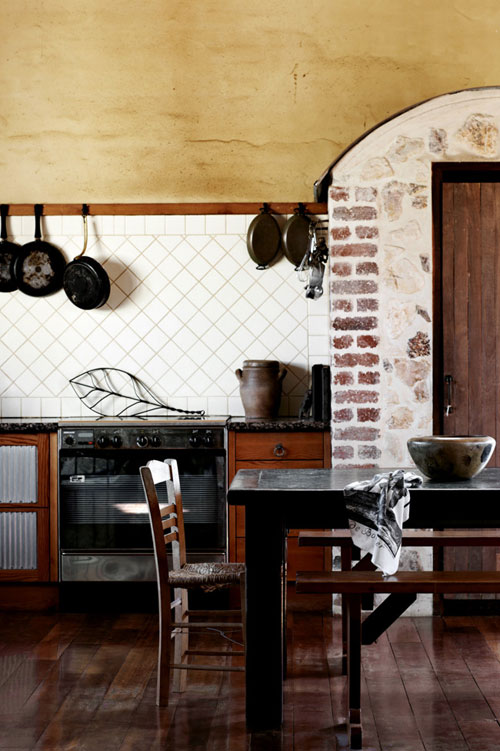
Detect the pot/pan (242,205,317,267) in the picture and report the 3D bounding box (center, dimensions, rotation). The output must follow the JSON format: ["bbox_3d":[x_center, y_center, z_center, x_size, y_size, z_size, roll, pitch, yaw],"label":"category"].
[{"bbox_3d":[0.159,-0.734,4.552,0.358,0.344,0.144,0,3,5],"label":"pot/pan"}]

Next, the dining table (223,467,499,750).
[{"bbox_3d":[0.344,0.586,2.865,1.008,0.708,0.783,0,2,3],"label":"dining table"}]

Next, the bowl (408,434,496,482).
[{"bbox_3d":[0.629,0.256,2.693,0.183,0.096,0.178,0,-9,0],"label":"bowl"}]

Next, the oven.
[{"bbox_3d":[-0.479,0.611,4.180,0.789,0.711,0.502,-1,-9,2],"label":"oven"}]
